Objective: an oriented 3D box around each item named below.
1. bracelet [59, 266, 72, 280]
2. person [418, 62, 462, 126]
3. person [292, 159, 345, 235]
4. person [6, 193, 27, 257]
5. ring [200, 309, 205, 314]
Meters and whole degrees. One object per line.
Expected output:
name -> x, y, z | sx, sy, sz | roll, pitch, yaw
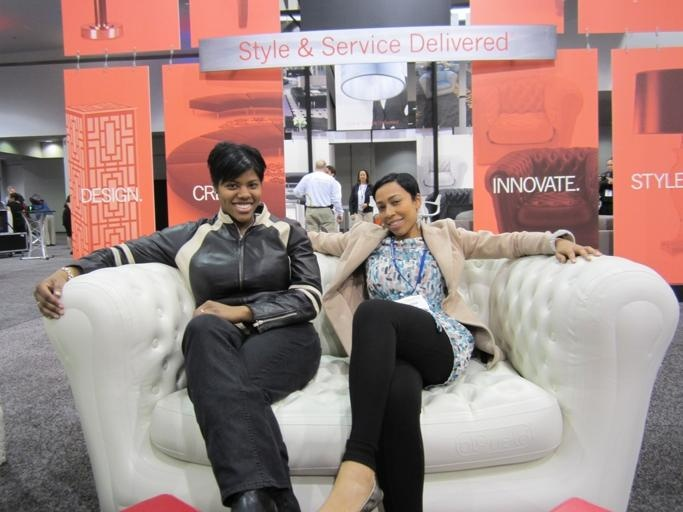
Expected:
bracelet -> -1.120, 0.073, 2.059 | 0.041, 0.064, 0.024 | -1, -5, -25
person -> 1.304, -2.488, 7.345 | 0.636, 0.950, 0.618 | -20, 18, -34
person -> -0.272, -0.643, 6.490 | 0.590, 1.404, 0.388 | 3, 36, 0
person -> -6.203, -0.664, 9.711 | 0.313, 1.238, 1.079 | -5, 8, -32
ring -> -0.563, 0.227, 2.043 | 0.020, 0.021, 0.006 | 26, -3, 23
